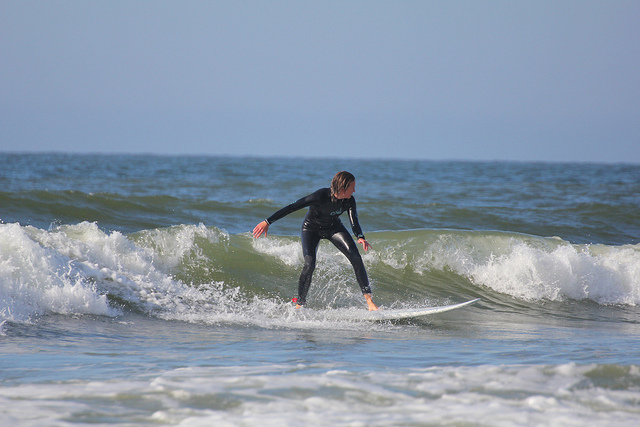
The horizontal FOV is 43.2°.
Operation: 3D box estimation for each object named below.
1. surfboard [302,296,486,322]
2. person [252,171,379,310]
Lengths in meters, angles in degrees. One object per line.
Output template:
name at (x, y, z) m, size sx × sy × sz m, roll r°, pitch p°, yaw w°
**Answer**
surfboard at (1.074, 1.530, 12.821) m, size 2.816 × 0.215 × 0.301 m, roll -4°, pitch 10°, yaw -10°
person at (0.058, 0.407, 12.023) m, size 1.629 × 2.101 × 0.448 m, roll 1°, pitch 11°, yaw -4°
